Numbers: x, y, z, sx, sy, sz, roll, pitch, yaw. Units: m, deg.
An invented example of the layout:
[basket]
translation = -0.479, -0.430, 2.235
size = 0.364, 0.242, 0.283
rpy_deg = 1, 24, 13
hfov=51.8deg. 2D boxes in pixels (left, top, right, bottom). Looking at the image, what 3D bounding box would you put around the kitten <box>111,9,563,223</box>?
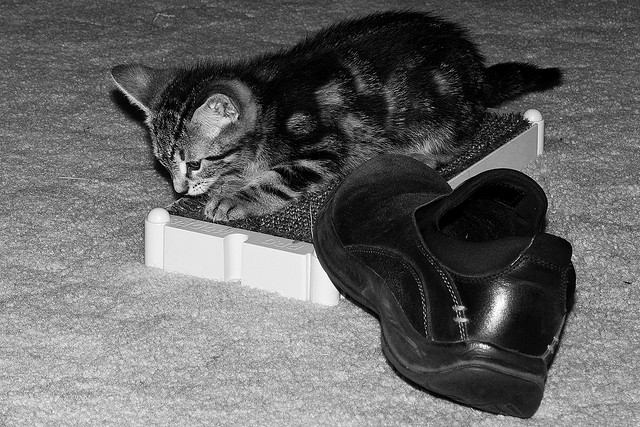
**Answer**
[kitten]
translation = 0.056, -0.294, 1.590
size = 0.969, 0.302, 0.470
rpy_deg = -20, 59, -15
